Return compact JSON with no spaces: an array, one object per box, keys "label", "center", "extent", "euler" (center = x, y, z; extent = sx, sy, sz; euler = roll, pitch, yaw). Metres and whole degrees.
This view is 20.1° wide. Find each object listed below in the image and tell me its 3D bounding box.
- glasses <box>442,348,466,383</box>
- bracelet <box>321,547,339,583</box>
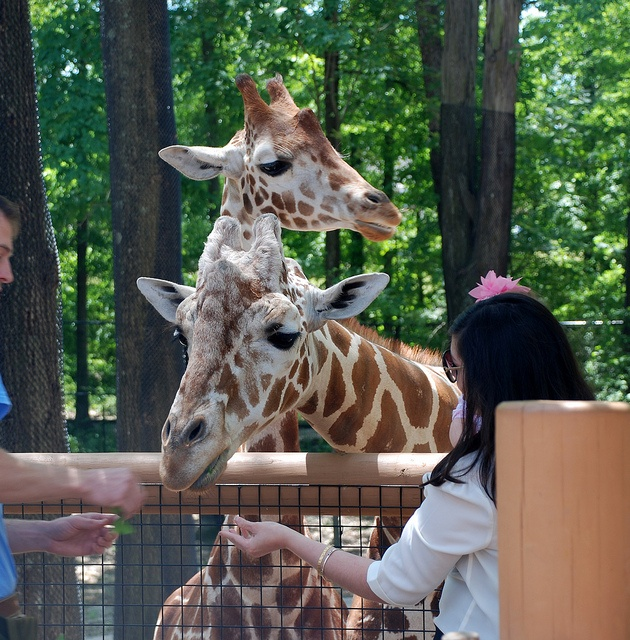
[{"label":"glasses","center":[1.152,0.377,14.974],"extent":[0.219,0.068,0.219],"euler":[3,32,-8]},{"label":"bracelet","center":[0.103,1.990,14.768],"extent":[0.071,0.214,0.185],"euler":[4,-4,15]}]
